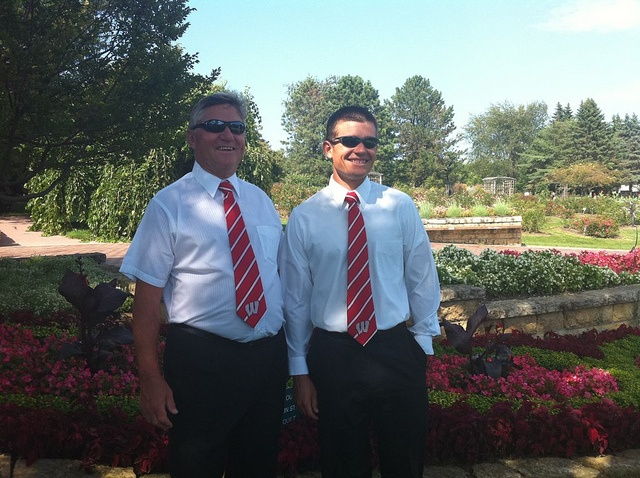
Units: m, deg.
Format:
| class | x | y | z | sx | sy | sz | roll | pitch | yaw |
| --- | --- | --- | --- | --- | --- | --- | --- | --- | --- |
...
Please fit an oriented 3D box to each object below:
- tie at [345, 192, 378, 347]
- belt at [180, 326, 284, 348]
| class | x | y | z | sx | sy | sz | roll | pitch | yaw |
| --- | --- | --- | --- | --- | --- | --- | --- | --- | --- |
| tie | 0.299 | 0.207 | 3.864 | 0.206 | 1.136 | 0.208 | 0 | 1 | -3 |
| belt | -0.651 | 0.688 | 3.635 | 0.737 | 0.091 | 0.114 | 4 | 13 | -9 |
